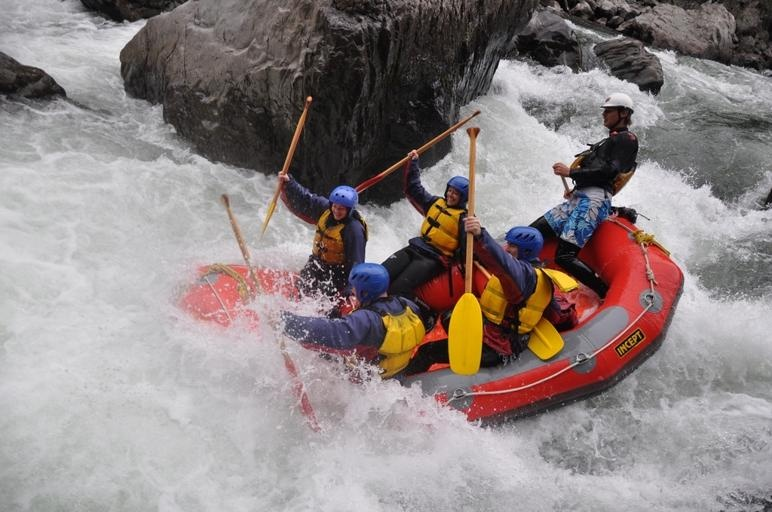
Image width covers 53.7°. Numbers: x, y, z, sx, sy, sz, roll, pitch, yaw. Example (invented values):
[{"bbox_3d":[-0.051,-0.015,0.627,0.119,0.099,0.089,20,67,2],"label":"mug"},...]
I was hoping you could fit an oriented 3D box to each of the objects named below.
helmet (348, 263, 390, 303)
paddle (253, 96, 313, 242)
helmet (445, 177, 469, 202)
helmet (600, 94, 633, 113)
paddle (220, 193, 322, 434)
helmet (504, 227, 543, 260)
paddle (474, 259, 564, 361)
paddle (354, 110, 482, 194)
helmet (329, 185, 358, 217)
[{"bbox_3d":[-0.238,0.360,9.029,0.480,0.527,0.395,1,17,-18],"label":"helmet"},{"bbox_3d":[-1.440,-1.255,10.873,0.114,2.172,0.169,20,-2,2],"label":"paddle"},{"bbox_3d":[0.965,-0.894,9.802,0.243,0.289,0.315,36,12,26],"label":"helmet"},{"bbox_3d":[3.044,-1.959,10.046,0.338,0.175,0.278,11,10,-3],"label":"helmet"},{"bbox_3d":[-1.421,0.788,9.420,0.303,0.154,3.179,-24,79,-15],"label":"paddle"},{"bbox_3d":[1.664,-0.173,9.177,0.459,0.405,0.352,6,19,-4],"label":"helmet"},{"bbox_3d":[1.522,0.577,9.210,1.432,0.434,0.544,19,77,-15],"label":"paddle"},{"bbox_3d":[0.293,-1.298,10.532,0.215,2.542,0.267,-39,105,-40],"label":"paddle"},{"bbox_3d":[-0.515,-0.736,9.742,0.288,0.312,0.372,21,44,0],"label":"helmet"}]
